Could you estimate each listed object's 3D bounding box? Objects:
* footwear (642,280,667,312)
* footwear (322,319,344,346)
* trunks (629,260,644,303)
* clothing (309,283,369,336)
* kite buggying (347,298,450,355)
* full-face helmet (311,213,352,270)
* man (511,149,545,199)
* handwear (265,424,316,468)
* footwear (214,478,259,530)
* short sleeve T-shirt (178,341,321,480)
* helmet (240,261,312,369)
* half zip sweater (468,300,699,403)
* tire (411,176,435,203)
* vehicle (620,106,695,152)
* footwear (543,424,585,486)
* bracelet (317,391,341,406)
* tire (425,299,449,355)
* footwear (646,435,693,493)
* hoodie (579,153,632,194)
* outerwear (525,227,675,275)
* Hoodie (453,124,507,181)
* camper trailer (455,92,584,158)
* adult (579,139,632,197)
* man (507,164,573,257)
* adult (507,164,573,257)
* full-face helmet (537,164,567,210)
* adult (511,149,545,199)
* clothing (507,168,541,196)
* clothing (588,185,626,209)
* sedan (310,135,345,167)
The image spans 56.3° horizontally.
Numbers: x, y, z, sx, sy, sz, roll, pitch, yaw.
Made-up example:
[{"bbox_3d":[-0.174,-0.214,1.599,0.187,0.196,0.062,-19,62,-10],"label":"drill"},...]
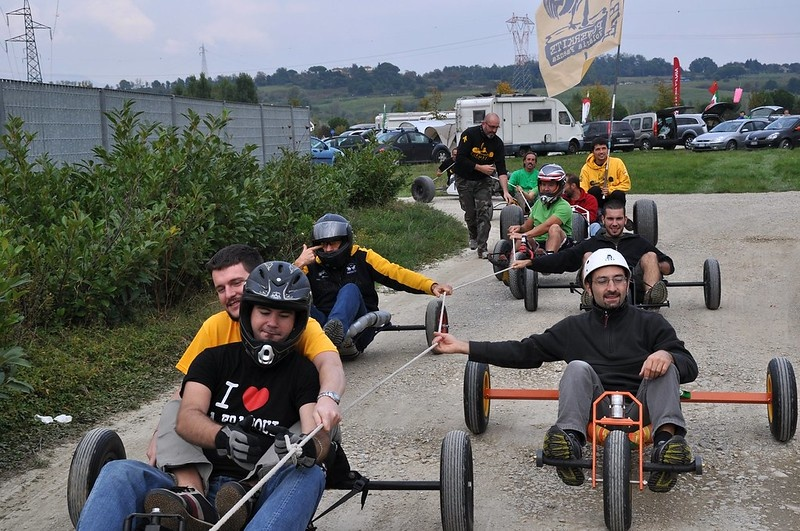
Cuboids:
[{"bbox_3d":[3.194,0.384,9.380,0.163,0.502,0.216,3,28,4],"label":"footwear"},{"bbox_3d":[-0.716,0.803,8.209,0.171,0.418,0.178,1,21,-14],"label":"footwear"},{"bbox_3d":[3.024,0.240,9.497,0.193,0.657,0.259,-2,16,7],"label":"trunks"},{"bbox_3d":[-0.677,0.497,8.465,0.433,0.311,0.586,-16,10,41],"label":"clothing"},{"bbox_3d":[-0.111,0.722,8.884,1.463,0.755,1.941,1,-4,7],"label":"kite buggying"},{"bbox_3d":[-0.677,-0.300,8.790,0.419,0.643,0.599,-3,2,9],"label":"full-face helmet"},{"bbox_3d":[2.576,-1.712,15.089,0.703,1.224,0.623,2,6,-39],"label":"man"},{"bbox_3d":[-0.688,1.149,4.877,0.286,0.213,0.127,32,36,-4],"label":"handwear"},{"bbox_3d":[-1.078,1.536,4.888,0.149,0.494,0.198,14,27,6],"label":"footwear"},{"bbox_3d":[-1.007,1.017,5.060,0.690,0.739,0.400,12,4,0],"label":"short sleeve T-shirt"},{"bbox_3d":[-0.886,0.292,5.355,0.472,0.727,0.679,9,4,0],"label":"helmet"},{"bbox_3d":[1.537,0.777,6.363,1.889,0.812,1.054,-7,15,29],"label":"half zip sweater"},{"bbox_3d":[0.681,-2.209,21.847,0.287,0.808,0.758,-11,-13,-41],"label":"tire"},{"bbox_3d":[13.223,-7.268,39.367,1.915,1.691,3.457,-6,15,-14],"label":"vehicle"},{"bbox_3d":[1.244,1.455,5.724,0.288,0.461,0.312,-4,10,12],"label":"footwear"},{"bbox_3d":[-0.483,0.909,5.106,0.119,0.085,0.134,-21,-46,40],"label":"bracelet"},{"bbox_3d":[0.448,0.737,9.150,0.172,0.610,0.589,1,36,18],"label":"tire"},{"bbox_3d":[1.982,1.456,5.582,0.215,0.501,0.232,14,27,4],"label":"footwear"},{"bbox_3d":[3.706,-1.633,13.403,0.934,1.014,0.818,-1,6,8],"label":"hoodie"},{"bbox_3d":[2.696,-0.220,9.709,2.031,0.565,0.480,-1,-19,-23],"label":"outerwear"},{"bbox_3d":[1.451,-2.111,14.055,0.965,1.158,0.930,-4,7,-34],"label":"Hoodie"},{"bbox_3d":[7.203,-6.411,34.275,2.486,2.737,5.359,-9,12,-37],"label":"camper trailer"},{"bbox_3d":[3.628,-1.678,13.407,0.866,1.185,0.820,-6,10,6],"label":"adult"},{"bbox_3d":[2.199,-0.834,11.571,1.025,1.508,1.152,-4,12,-18],"label":"man"},{"bbox_3d":[2.197,-0.847,11.614,1.009,1.508,1.045,-6,13,-24],"label":"adult"},{"bbox_3d":[2.453,-1.309,11.746,0.431,0.644,0.578,1,9,30],"label":"full-face helmet"},{"bbox_3d":[2.573,-1.705,15.078,0.707,1.229,0.640,3,7,-15],"label":"adult"},{"bbox_3d":[2.482,-1.727,15.082,0.776,0.642,0.454,1,-6,13],"label":"clothing"},{"bbox_3d":[3.218,-1.075,11.716,0.651,0.259,0.674,-7,5,-10],"label":"clothing"},{"bbox_3d":[-2.972,-4.583,29.492,0.874,1.100,6.337,-7,10,-5],"label":"sedan"}]
